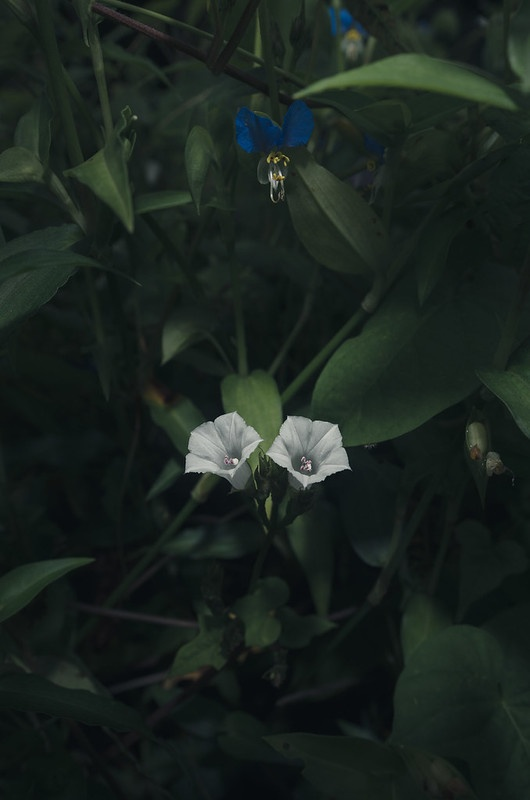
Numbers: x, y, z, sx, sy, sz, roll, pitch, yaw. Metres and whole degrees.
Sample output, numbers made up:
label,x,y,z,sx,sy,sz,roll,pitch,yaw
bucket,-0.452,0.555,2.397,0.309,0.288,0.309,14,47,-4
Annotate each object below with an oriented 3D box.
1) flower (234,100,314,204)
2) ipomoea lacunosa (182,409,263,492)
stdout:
label,x,y,z,sx,sy,sz,roll,pitch,yaw
flower,0.005,-0.258,0.707,0.077,0.076,0.046,3,5,-19
ipomoea lacunosa,-0.042,0.052,0.750,0.073,0.080,0.114,4,5,-1
